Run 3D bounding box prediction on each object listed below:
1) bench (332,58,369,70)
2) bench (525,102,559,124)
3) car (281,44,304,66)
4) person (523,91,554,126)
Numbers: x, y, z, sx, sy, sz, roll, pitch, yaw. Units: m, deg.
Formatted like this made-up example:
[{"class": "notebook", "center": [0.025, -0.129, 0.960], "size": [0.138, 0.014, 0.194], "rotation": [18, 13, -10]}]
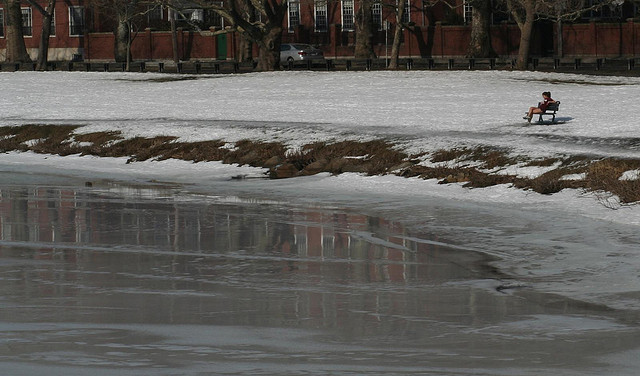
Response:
[{"class": "bench", "center": [1.715, -7.204, 77.116], "size": [2.110, 0.657, 4.479], "rotation": [-1, 4, 0]}, {"class": "bench", "center": [8.444, -2.912, 50.548], "size": [0.967, 0.941, 0.839], "rotation": [-3, 30, -5]}, {"class": "car", "center": [-1.913, -8.548, 84.499], "size": [0.737, 1.299, 2.054], "rotation": [-4, 5, -33]}, {"class": "person", "center": [8.317, -3.002, 50.547], "size": [0.831, 1.292, 1.098], "rotation": [-3, 4, -24]}]
